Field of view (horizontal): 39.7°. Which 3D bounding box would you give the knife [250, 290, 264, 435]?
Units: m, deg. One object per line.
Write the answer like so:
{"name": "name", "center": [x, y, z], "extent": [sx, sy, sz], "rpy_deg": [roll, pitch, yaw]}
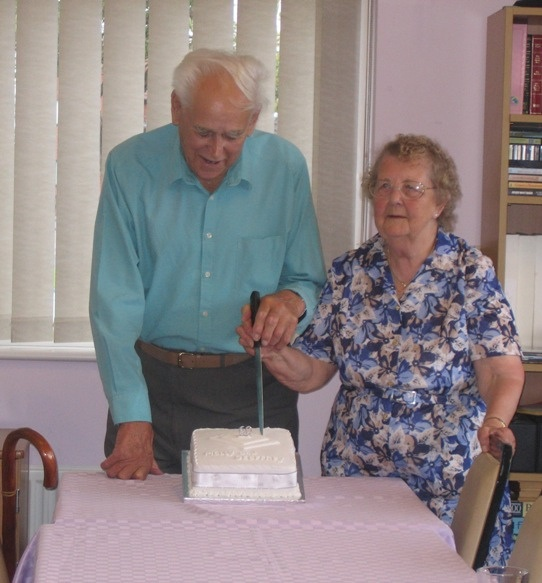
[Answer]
{"name": "knife", "center": [-0.028, 0.148, 1.567], "extent": [0.043, 0.289, 0.018], "rpy_deg": [-4, -9, 16]}
